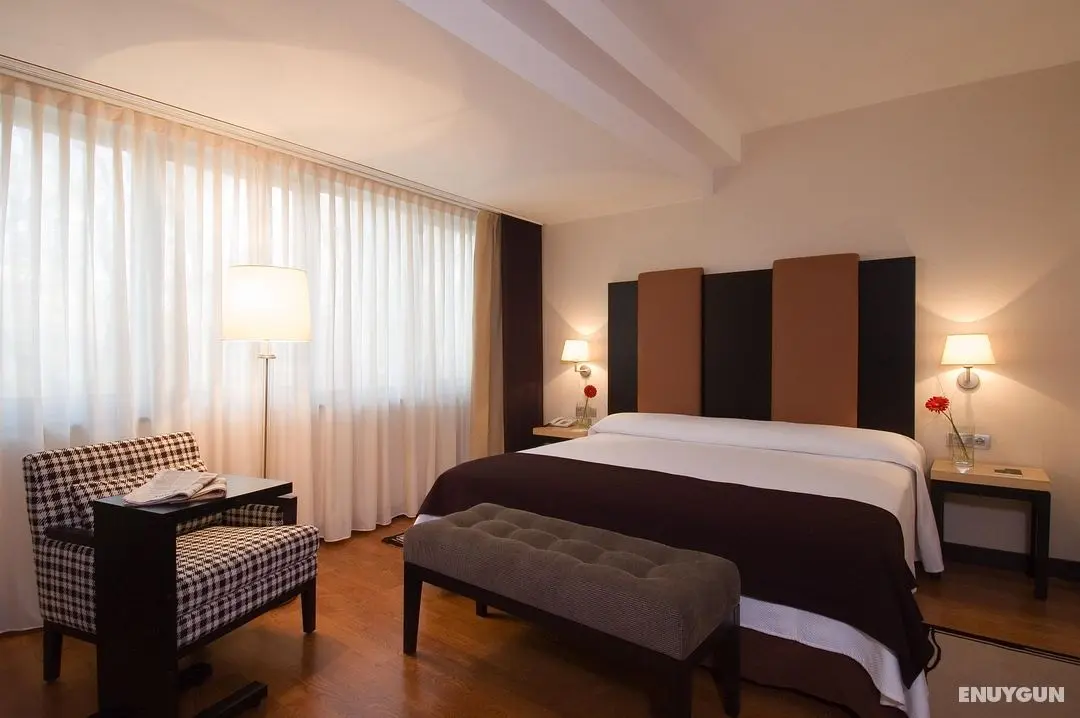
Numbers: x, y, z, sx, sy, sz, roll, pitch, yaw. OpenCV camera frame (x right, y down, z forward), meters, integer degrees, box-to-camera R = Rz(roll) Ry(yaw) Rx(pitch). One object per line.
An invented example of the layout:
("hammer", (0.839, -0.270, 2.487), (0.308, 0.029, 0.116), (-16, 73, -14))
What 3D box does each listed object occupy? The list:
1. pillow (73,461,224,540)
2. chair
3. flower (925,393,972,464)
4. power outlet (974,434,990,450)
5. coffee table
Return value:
("pillow", (-2.493, 0.831, 4.438), (0.909, 0.278, 0.933), (1, 6, -20))
("chair", (-2.166, 1.161, 4.341), (1.262, 1.313, 0.973), (1, 3, 26))
("flower", (3.013, 0.526, 5.347), (0.180, 0.495, 0.185), (-21, -18, 20))
("power outlet", (3.285, 0.608, 5.394), (0.096, 0.117, 0.023), (1, 3, 28))
("coffee table", (3.188, 1.154, 5.282), (0.830, 0.887, 0.858), (5, 8, 42))
